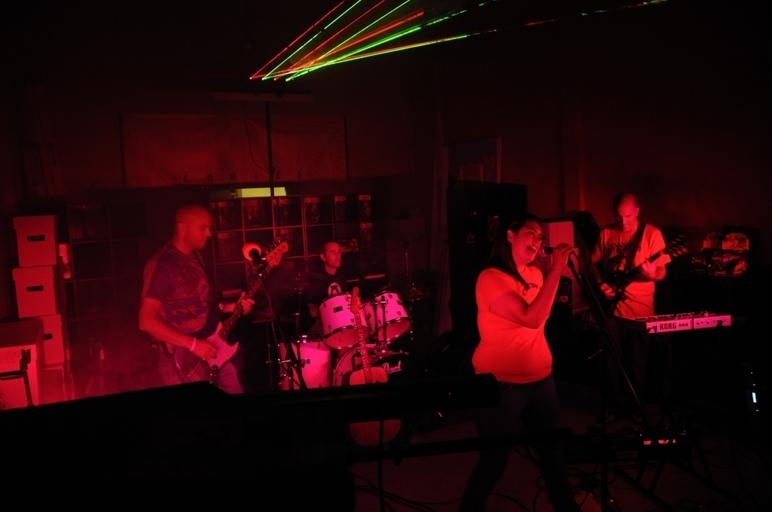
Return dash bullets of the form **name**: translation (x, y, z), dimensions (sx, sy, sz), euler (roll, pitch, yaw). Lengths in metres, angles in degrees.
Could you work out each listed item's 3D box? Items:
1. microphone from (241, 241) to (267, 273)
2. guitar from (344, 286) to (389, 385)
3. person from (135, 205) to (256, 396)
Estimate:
- **microphone**: translation (-1.271, 0.023, 5.778), dimensions (0.243, 0.290, 0.498), euler (-14, 12, -14)
- **guitar**: translation (-0.166, 0.754, 5.811), dimensions (0.390, 0.951, 0.943), euler (1, 11, 1)
- **person**: translation (-1.661, 0.420, 5.152), dimensions (0.766, 1.671, 0.385), euler (-2, 12, -13)
